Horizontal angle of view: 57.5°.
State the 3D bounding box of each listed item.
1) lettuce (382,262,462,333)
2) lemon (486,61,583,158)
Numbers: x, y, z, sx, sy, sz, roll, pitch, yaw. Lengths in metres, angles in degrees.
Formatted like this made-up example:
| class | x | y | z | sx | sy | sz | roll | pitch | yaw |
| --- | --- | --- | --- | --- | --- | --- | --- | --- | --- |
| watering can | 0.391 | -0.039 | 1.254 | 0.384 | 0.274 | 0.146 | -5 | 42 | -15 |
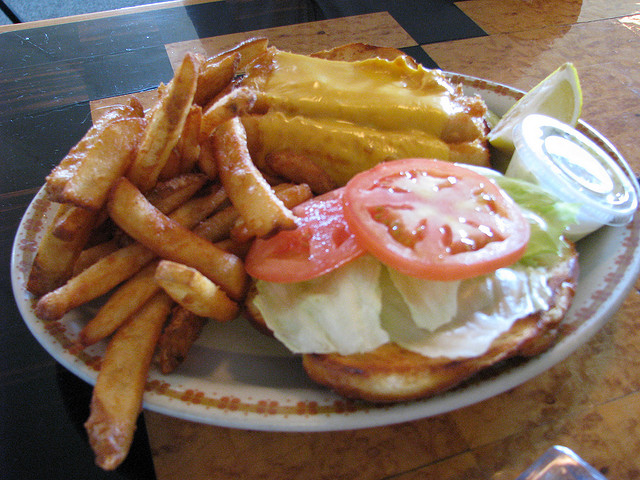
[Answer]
| class | x | y | z | sx | sy | sz | roll | pitch | yaw |
| --- | --- | --- | --- | --- | --- | --- | --- | --- | --- |
| lettuce | 0.310 | 0.186 | 1.777 | 0.219 | 0.051 | 0.161 | 8 | 64 | 8 |
| lemon | 0.828 | -0.496 | 2.267 | 0.391 | 0.203 | 0.232 | -23 | 65 | -7 |
